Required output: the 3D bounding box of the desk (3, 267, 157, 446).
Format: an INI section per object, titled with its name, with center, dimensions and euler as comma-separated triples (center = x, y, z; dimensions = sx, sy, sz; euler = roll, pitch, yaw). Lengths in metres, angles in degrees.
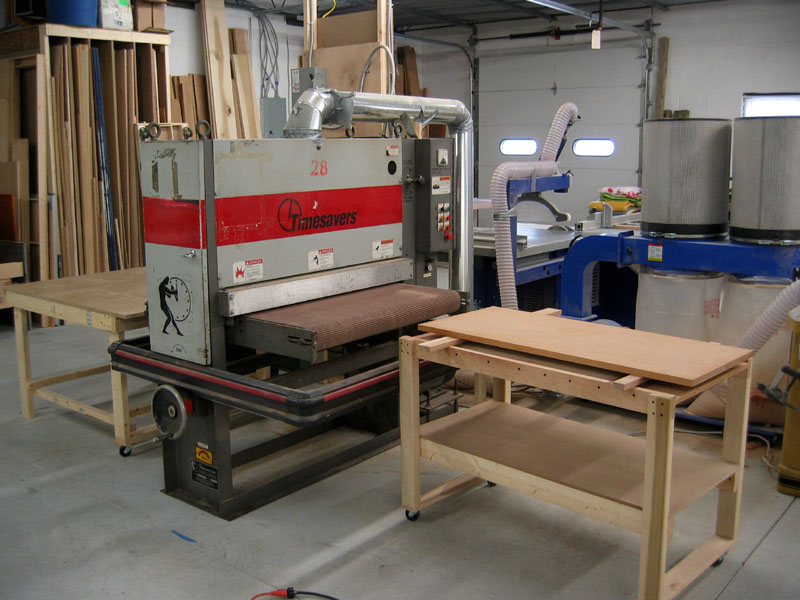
[desk]
center = -1.987, 0.336, 4.894
dimensions = 1.203, 0.866, 1.216
euler = 7, 10, 33
